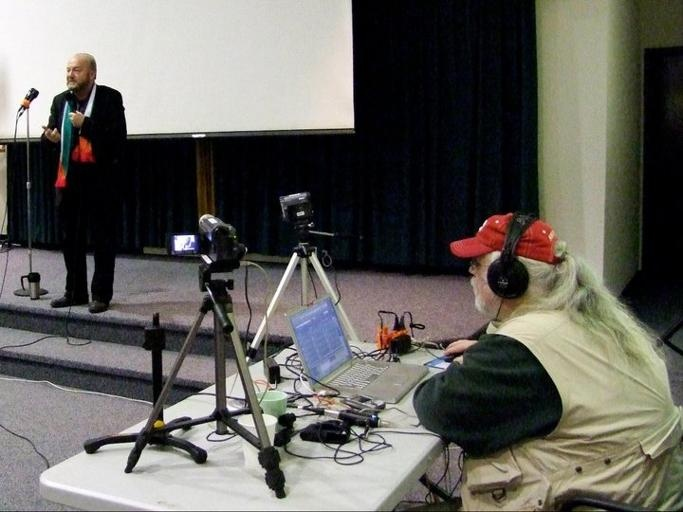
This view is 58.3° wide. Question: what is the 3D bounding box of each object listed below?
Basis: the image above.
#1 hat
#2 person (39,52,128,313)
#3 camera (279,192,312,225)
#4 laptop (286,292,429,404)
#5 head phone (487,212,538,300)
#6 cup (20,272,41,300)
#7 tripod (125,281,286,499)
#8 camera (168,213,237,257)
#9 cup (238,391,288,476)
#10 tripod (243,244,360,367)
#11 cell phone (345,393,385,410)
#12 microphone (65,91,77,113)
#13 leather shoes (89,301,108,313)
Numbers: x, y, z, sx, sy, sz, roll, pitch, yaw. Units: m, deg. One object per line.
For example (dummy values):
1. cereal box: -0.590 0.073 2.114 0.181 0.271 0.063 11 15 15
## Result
1. hat: 0.540 -0.050 1.989 0.264 0.127 0.183 4 3 22
2. person: -1.811 -0.506 4.315 0.576 1.763 0.496 -3 12 -6
3. camera: -0.245 -0.256 3.368 0.160 0.183 0.131 -9 4 6
4. laptop: 0.053 0.317 2.289 0.457 0.289 0.506 -1 5 34
5. head phone: 0.563 0.008 2.025 0.097 0.275 0.277 7 1 22
6. cup: -2.373 0.239 4.677 0.142 0.214 0.096 8 10 28
7. tripod: -0.390 0.385 1.895 0.499 0.673 0.438 -5 12 -34
8. camera: -0.431 -0.058 1.985 0.263 0.116 0.188 4 18 27
9. cup: -0.229 0.559 1.922 0.153 0.189 0.175 0 6 0
10. tripod: -0.197 0.206 3.325 0.545 0.593 0.503 3 -15 -12
11. cell phone: 0.081 0.510 2.117 0.075 0.027 0.058 8 10 37
12. microphone: -1.892 -1.084 4.326 0.076 0.146 0.033 -21 0 15
13. leather shoes: -1.708 0.361 4.303 0.052 0.074 0.160 1 -5 1
